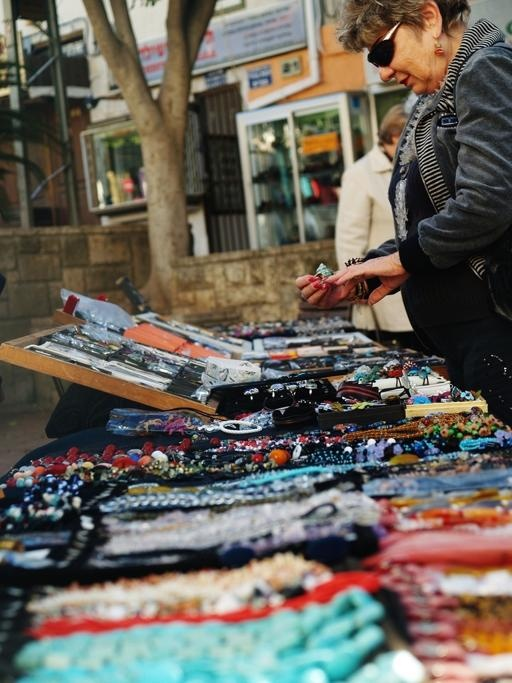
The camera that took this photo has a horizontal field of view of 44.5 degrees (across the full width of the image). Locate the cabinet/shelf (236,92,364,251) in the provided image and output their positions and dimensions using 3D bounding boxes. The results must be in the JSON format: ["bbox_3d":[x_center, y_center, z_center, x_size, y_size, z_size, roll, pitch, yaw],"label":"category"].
[{"bbox_3d":[0.289,-0.926,3.787,0.622,0.904,0.558,-9,-14,22],"label":"cabinet/shelf"}]

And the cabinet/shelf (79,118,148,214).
[{"bbox_3d":[-0.616,-0.768,2.679,0.386,0.354,0.207,-10,7,-19],"label":"cabinet/shelf"}]
